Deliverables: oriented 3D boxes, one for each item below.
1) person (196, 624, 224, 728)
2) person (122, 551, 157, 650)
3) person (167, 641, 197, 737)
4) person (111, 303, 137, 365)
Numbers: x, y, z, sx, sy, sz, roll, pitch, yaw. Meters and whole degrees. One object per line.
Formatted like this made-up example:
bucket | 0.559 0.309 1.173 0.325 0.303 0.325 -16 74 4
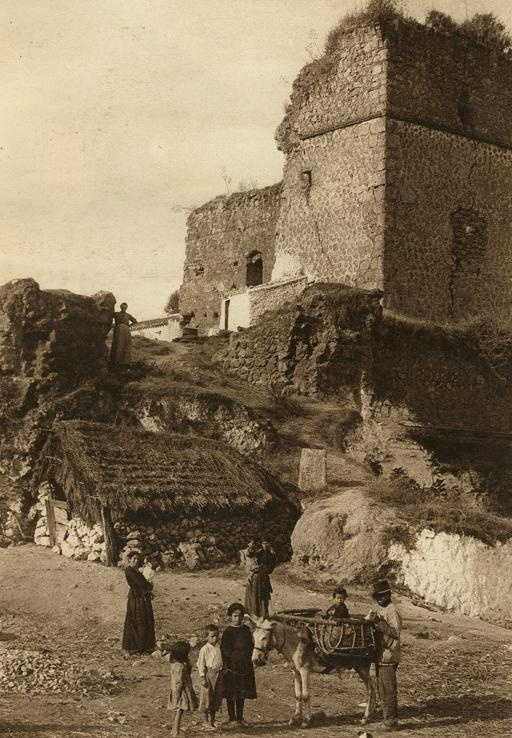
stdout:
person | -0.390 2.660 10.146 0.202 0.953 0.365 1 -2 3
person | -1.095 2.281 11.124 0.313 0.794 0.216 2 -2 -7
person | -0.632 2.769 10.227 0.247 0.863 0.416 1 -2 -4
person | -1.667 -0.416 14.756 0.290 0.842 0.869 2 -2 -6
